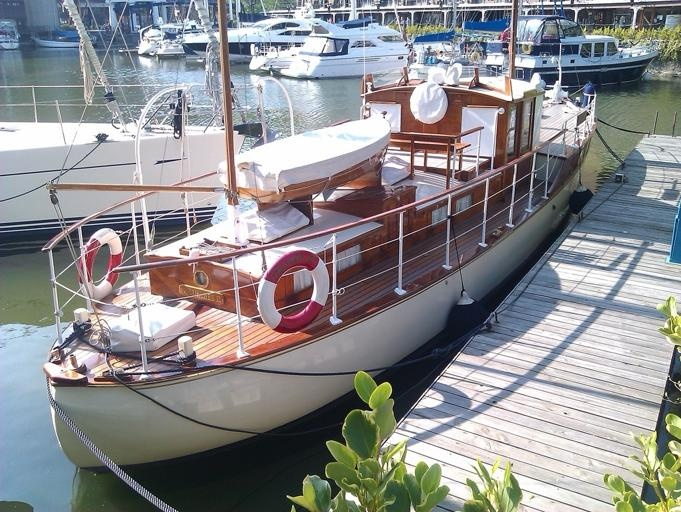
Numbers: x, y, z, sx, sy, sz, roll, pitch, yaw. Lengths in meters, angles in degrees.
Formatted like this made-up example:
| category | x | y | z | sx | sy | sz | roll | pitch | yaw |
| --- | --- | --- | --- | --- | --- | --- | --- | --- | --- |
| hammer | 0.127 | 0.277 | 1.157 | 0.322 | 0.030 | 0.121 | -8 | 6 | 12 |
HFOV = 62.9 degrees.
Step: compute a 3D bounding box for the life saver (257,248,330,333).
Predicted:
| category | x | y | z | sx | sy | sz | roll | pitch | yaw |
| --- | --- | --- | --- | --- | --- | --- | --- | --- | --- |
| life saver | -0.458 | 0.371 | 5.497 | 0.754 | 0.911 | 0.181 | -21 | 27 | -38 |
